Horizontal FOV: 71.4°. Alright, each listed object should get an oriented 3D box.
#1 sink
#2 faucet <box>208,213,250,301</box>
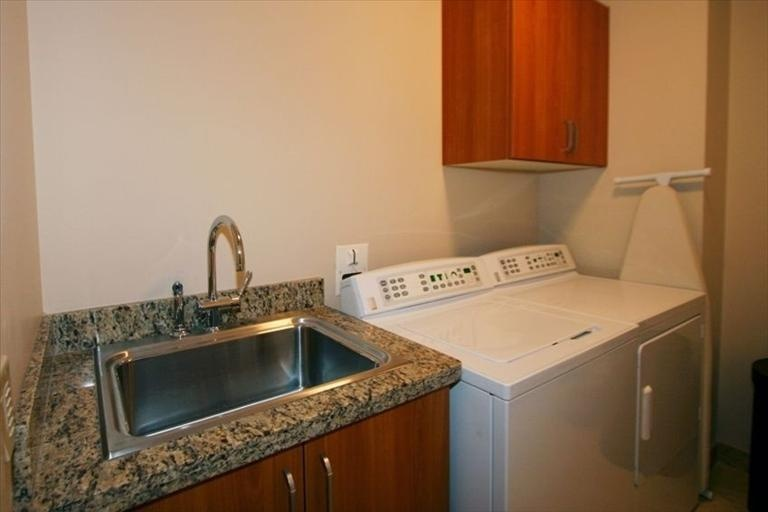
[{"bbox_3d":[-0.515,0.561,1.962,0.922,0.350,0.623,-6,21,-28],"label":"sink"},{"bbox_3d":[-0.645,0.006,2.117,0.179,0.333,0.367,-9,8,-17],"label":"faucet"}]
